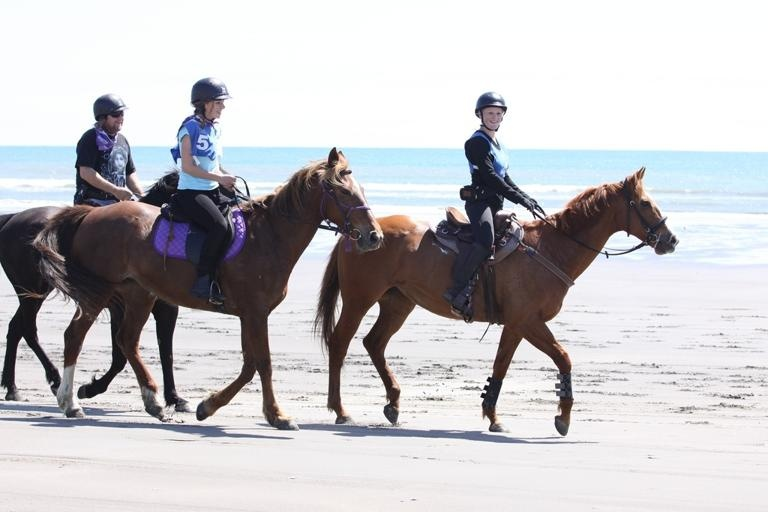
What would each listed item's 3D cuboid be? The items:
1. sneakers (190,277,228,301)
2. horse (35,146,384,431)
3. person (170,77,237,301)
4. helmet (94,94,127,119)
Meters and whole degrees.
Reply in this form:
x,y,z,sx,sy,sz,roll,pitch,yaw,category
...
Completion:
x,y,z,sx,sy,sz,roll,pitch,yaw,category
-2.009,0.368,11.936,0.332,0.262,0.237,3,3,11,sneakers
-2.147,0.410,12.285,4.149,3.182,1.096,1,-4,14,horse
-2.074,-0.741,11.868,0.760,2.573,0.779,2,6,-9,person
-3.398,-1.843,12.861,0.347,0.305,0.468,1,7,-13,helmet
